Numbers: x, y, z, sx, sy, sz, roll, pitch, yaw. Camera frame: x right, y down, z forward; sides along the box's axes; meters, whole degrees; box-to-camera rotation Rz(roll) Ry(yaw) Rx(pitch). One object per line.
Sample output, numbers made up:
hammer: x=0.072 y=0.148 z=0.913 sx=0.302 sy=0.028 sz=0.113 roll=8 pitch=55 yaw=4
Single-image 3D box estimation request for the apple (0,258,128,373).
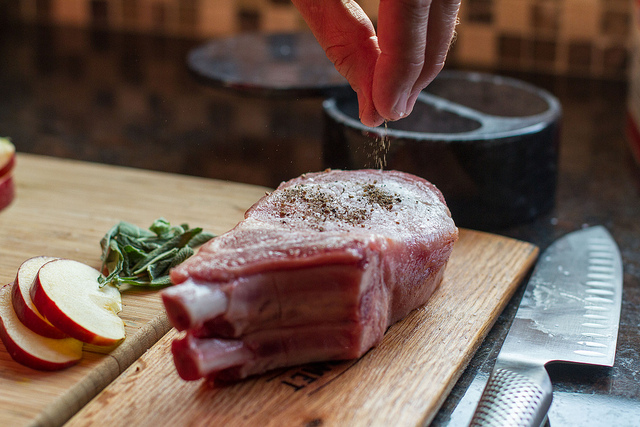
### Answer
apple: x=-0.702 y=0.238 z=1.687 sx=0.296 sy=0.157 sz=0.322 roll=-17 pitch=42 yaw=-20
